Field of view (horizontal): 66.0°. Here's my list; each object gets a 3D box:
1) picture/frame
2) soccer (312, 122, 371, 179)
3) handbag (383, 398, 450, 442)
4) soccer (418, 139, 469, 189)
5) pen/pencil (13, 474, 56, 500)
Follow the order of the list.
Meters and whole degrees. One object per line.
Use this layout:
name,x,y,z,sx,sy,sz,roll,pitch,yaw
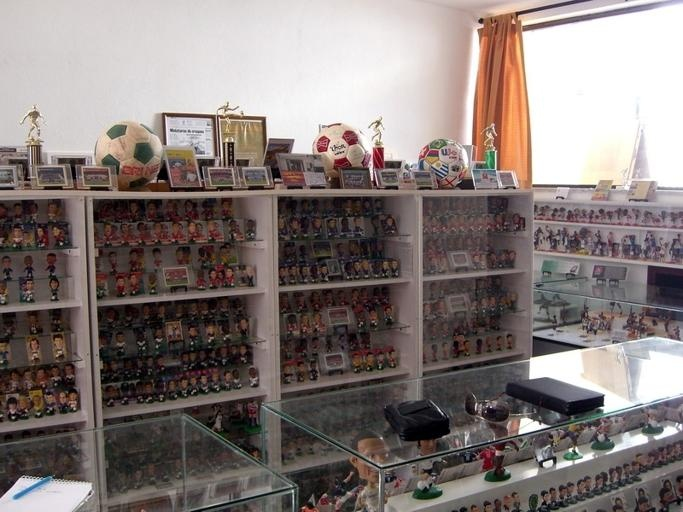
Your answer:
picture/frame,-1.028,-0.935,4.119,0.587,0.342,0.037,-3,6,-25
soccer,0.034,-0.684,3.829,0.400,0.471,0.419,-10,-6,-1
handbag,0.252,0.557,1.819,0.189,0.071,0.219,-6,6,-9
soccer,0.785,-0.691,4.086,0.399,0.416,0.410,-4,17,6
pen/pencil,-0.913,0.680,1.561,0.020,0.016,0.131,-9,12,19
